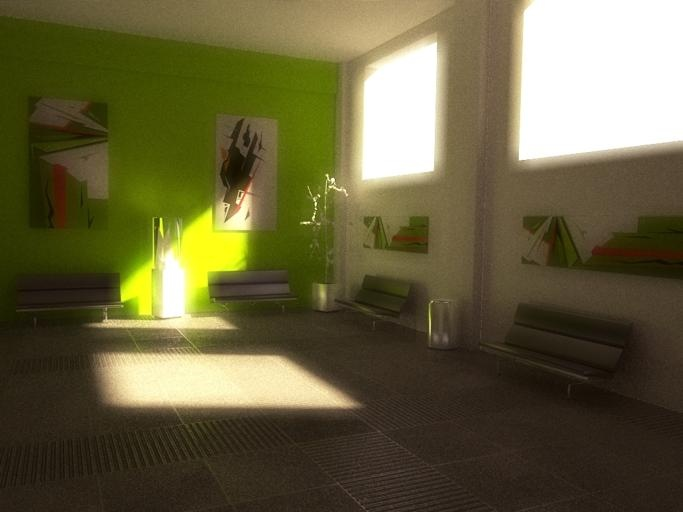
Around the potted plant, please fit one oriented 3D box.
[{"bbox_3d":[-0.249,-0.284,8.663,0.803,2.482,0.879,0,6,-24],"label":"potted plant"}]

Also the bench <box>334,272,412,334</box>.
[{"bbox_3d":[0.585,0.628,7.462,0.705,0.580,1.236,0,6,-28],"label":"bench"}]
